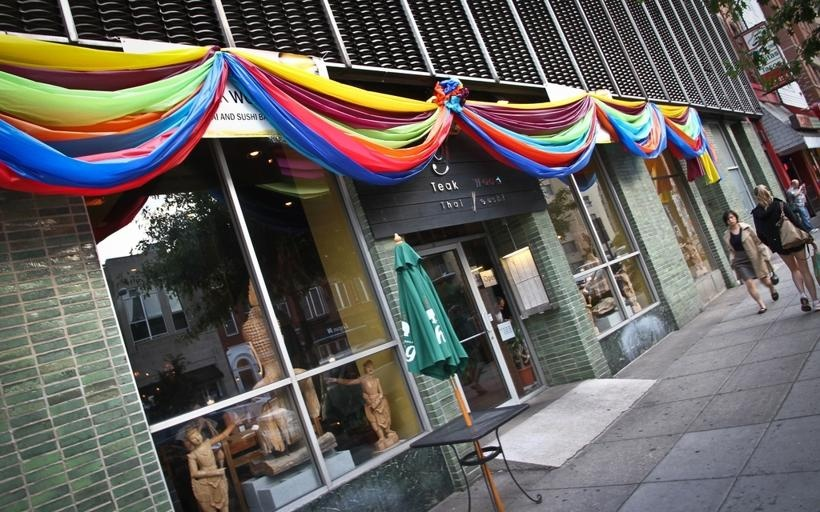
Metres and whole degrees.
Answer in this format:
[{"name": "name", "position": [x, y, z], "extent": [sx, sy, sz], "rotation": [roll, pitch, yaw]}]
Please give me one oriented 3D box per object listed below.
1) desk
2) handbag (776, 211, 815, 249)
[{"name": "desk", "position": [0.939, 2.561, 6.666], "extent": [1.312, 1.174, 1.889], "rotation": [-15, -6, 5]}, {"name": "handbag", "position": [6.974, -0.460, 9.639], "extent": [0.504, 0.805, 0.281], "rotation": [-15, -5, -9]}]
